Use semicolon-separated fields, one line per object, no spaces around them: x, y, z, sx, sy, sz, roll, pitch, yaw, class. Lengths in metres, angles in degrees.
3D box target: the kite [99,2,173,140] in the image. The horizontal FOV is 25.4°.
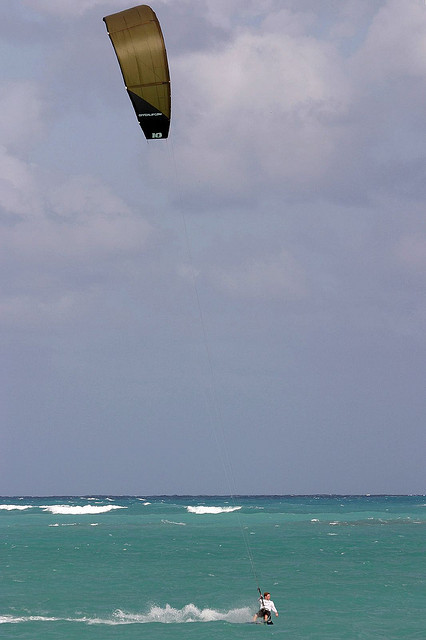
-2.700;-9.142;35.551;1.856;3.607;3.608;-13;68;-9;kite
